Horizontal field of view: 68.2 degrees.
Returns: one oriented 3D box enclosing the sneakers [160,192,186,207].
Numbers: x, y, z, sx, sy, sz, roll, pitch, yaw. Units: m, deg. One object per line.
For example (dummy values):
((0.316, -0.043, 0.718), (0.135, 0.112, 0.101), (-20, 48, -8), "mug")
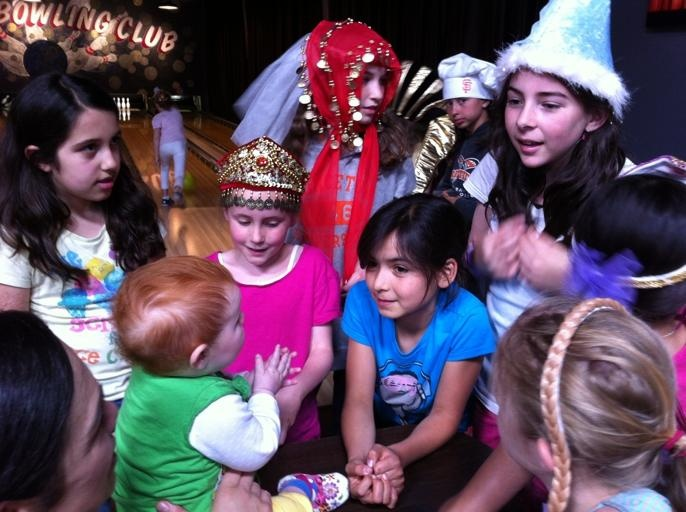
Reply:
((-2.043, -0.694, 6.137), (0.153, 0.194, 0.440), (-1, -5, -2), "sneakers")
